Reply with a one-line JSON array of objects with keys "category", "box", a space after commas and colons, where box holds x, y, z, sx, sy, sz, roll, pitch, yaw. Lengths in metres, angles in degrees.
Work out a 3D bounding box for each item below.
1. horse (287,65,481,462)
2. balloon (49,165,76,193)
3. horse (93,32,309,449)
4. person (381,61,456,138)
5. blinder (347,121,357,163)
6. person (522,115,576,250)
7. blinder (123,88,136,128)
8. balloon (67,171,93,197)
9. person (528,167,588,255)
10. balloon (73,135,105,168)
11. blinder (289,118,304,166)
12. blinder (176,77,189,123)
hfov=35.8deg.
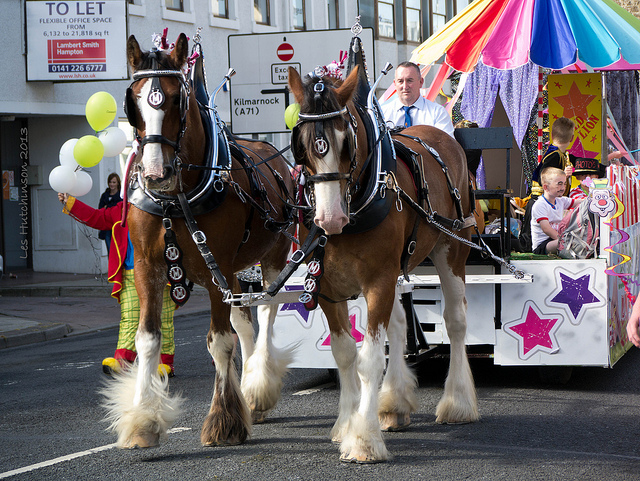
[{"category": "horse", "box": [0.641, 0.148, 8.566, 0.721, 3.219, 2.150, 3, 7, 39]}, {"category": "balloon", "box": [-3.088, -0.735, 11.724, 0.320, 0.381, 0.326, 1, 1, 0]}, {"category": "horse", "box": [-1.017, -0.018, 8.820, 0.930, 3.523, 1.915, 2, 6, 32]}, {"category": "person", "box": [0.887, -1.437, 10.698, 1.182, 0.951, 0.675, 3, 3, 13]}, {"category": "blinder", "box": [0.241, -0.782, 7.849, 0.063, 0.252, 0.186, 2, -5, -9]}, {"category": "person", "box": [3.018, -0.564, 12.942, 0.691, 2.081, 0.624, -3, 8, -7]}, {"category": "blinder", "box": [-1.567, -1.104, 8.135, 0.084, 0.255, 0.215, -4, -16, 5]}, {"category": "balloon", "box": [-2.870, -0.662, 11.928, 0.270, 0.320, 0.270, 5, -33, -6]}, {"category": "person", "box": [2.543, -0.321, 10.816, 0.540, 0.941, 1.361, 0, 6, 12]}, {"category": "balloon", "box": [-2.771, -1.069, 11.801, 0.379, 0.467, 0.398, 1, 2, -1]}, {"category": "blinder", "box": [-0.184, -0.787, 7.887, 0.097, 0.377, 0.160, -2, 5, -6]}, {"category": "blinder", "box": [-1.136, -1.171, 8.215, 0.072, 0.368, 0.214, 0, 5, 18]}]
